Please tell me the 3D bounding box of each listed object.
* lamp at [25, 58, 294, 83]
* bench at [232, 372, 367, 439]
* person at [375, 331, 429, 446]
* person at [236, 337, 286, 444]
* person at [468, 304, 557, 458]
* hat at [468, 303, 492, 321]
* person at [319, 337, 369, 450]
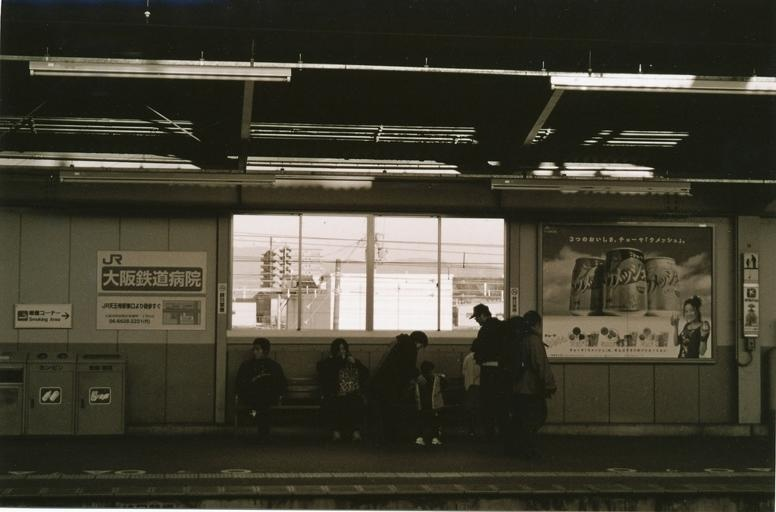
[{"bbox_3d":[-3.836,-3.125,24.756,4.255,0.279,0.244,1,-6,-6],"label":"lamp"},{"bbox_3d":[-1.862,2.774,27.688,3.130,1.048,1.251,0,-2,-9],"label":"bench"},{"bbox_3d":[0.145,2.427,27.314,0.816,1.952,0.220,1,-7,-2],"label":"person"},{"bbox_3d":[-2.397,2.445,27.678,0.938,1.835,0.337,1,-7,-8],"label":"person"},{"bbox_3d":[2.328,2.296,26.837,1.386,2.605,0.405,0,-7,5],"label":"person"},{"bbox_3d":[1.734,1.045,27.694,0.315,0.171,0.323,-3,4,-20],"label":"hat"},{"bbox_3d":[-0.843,2.463,27.508,0.928,1.869,0.384,1,-7,-2],"label":"person"}]
